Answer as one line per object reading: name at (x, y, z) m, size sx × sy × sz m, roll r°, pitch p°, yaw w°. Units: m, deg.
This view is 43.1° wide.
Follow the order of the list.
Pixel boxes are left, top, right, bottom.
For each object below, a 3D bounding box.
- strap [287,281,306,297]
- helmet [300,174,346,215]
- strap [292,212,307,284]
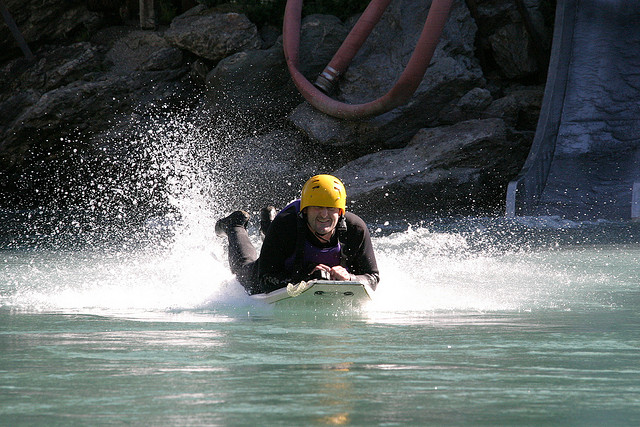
strap at (-0.232, 0.739, 7.806) m, size 0.166 × 0.072 × 0.136 m, roll 4°, pitch 65°, yaw 24°
helmet at (0.047, -0.207, 8.275) m, size 0.464 × 0.546 × 0.385 m, roll 4°, pitch 77°, yaw 1°
strap at (-0.211, 0.337, 8.035) m, size 0.096 × 0.241 × 0.693 m, roll 5°, pitch 97°, yaw 8°
